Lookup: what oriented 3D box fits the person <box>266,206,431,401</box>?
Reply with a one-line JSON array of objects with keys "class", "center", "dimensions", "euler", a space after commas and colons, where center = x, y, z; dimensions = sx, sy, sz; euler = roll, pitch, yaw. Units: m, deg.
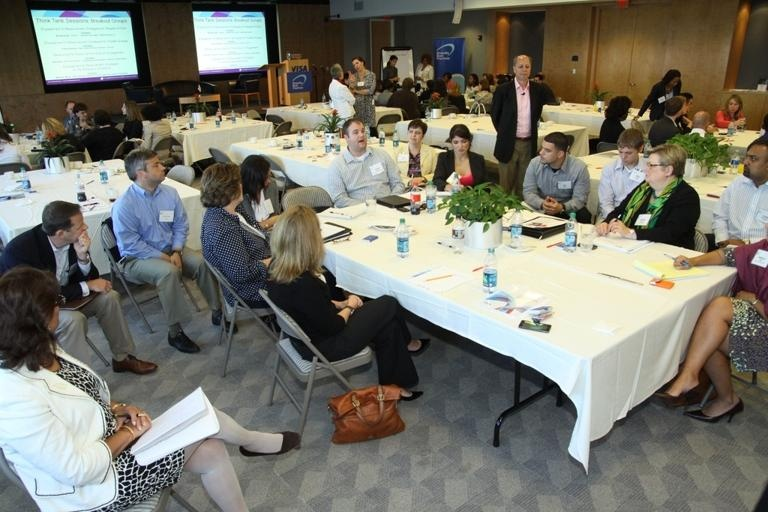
[{"class": "person", "center": [-0.220, 0.376, 3.571], "dimensions": [1.083, 1.540, 0.625], "euler": [-19, 15, -16]}]

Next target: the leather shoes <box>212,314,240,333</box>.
[{"class": "leather shoes", "center": [-1.406, 0.600, 4.349], "dimensions": [0.106, 0.124, 0.305], "euler": [-24, 33, -35]}]

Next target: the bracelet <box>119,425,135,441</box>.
[{"class": "bracelet", "center": [-1.350, 0.928, 2.569], "dimensions": [0.036, 0.064, 0.047], "euler": [-31, -7, -27]}]

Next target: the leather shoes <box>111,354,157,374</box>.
[{"class": "leather shoes", "center": [-2.087, 0.912, 4.077], "dimensions": [0.400, 0.161, 0.146], "euler": [0, 10, -3]}]

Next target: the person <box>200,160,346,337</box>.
[{"class": "person", "center": [-1.198, -0.058, 4.373], "dimensions": [0.798, 1.699, 0.891], "euler": [34, 44, 32]}]

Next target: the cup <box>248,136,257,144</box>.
[{"class": "cup", "center": [-1.955, -1.741, 7.351], "dimensions": [0.108, 0.111, 0.160], "euler": [-10, 15, -42]}]

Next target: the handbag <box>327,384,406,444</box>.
[{"class": "handbag", "center": [-0.116, 1.090, 3.396], "dimensions": [0.532, 0.370, 0.295], "euler": [-7, 7, -19]}]

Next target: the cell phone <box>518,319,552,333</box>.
[{"class": "cell phone", "center": [0.888, 0.414, 2.902], "dimensions": [0.183, 0.022, 0.105], "euler": [5, 24, 20]}]

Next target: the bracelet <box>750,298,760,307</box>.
[{"class": "bracelet", "center": [2.507, 0.310, 3.308], "dimensions": [0.046, 0.043, 0.030], "euler": [14, 44, 33]}]

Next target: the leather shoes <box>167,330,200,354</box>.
[{"class": "leather shoes", "center": [-1.779, 0.752, 4.375], "dimensions": [0.355, 0.152, 0.138], "euler": [19, 34, 28]}]

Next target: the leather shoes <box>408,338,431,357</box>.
[{"class": "leather shoes", "center": [0.299, 0.753, 4.120], "dimensions": [0.101, 0.056, 0.183], "euler": [10, 24, 39]}]
